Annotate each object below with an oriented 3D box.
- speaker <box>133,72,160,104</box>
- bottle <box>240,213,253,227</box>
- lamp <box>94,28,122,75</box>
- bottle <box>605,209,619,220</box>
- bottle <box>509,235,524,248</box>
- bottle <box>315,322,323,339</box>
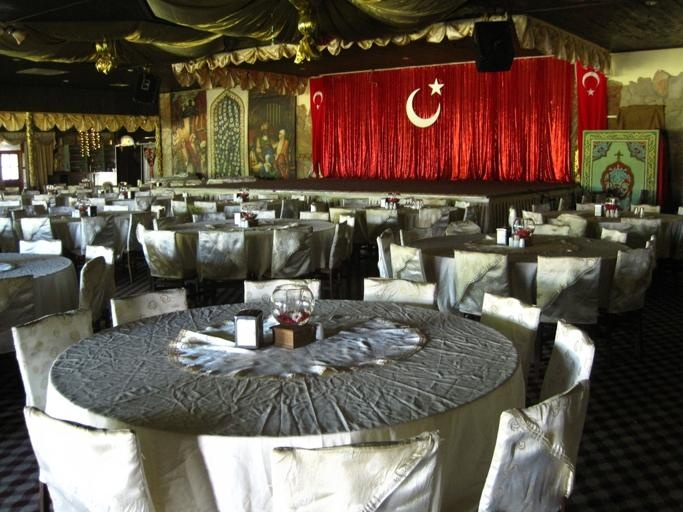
[{"bbox_3d":[-4.676,-4.051,12.130,0.594,0.696,0.370,-5,11,-21],"label":"speaker"},{"bbox_3d":[-1.027,-0.392,5.509,0.136,0.114,0.142,-1,15,-7],"label":"bottle"},{"bbox_3d":[-4.659,-4.046,9.997,0.430,0.826,1.795,-6,12,-23],"label":"lamp"},{"bbox_3d":[3.353,-0.525,6.312,0.118,0.088,0.121,-7,23,3],"label":"bottle"},{"bbox_3d":[1.471,-0.129,4.276,0.102,0.108,0.107,-1,8,7],"label":"bottle"},{"bbox_3d":[-0.095,0.314,2.153,0.033,0.063,0.078,-1,11,-1],"label":"bottle"}]
